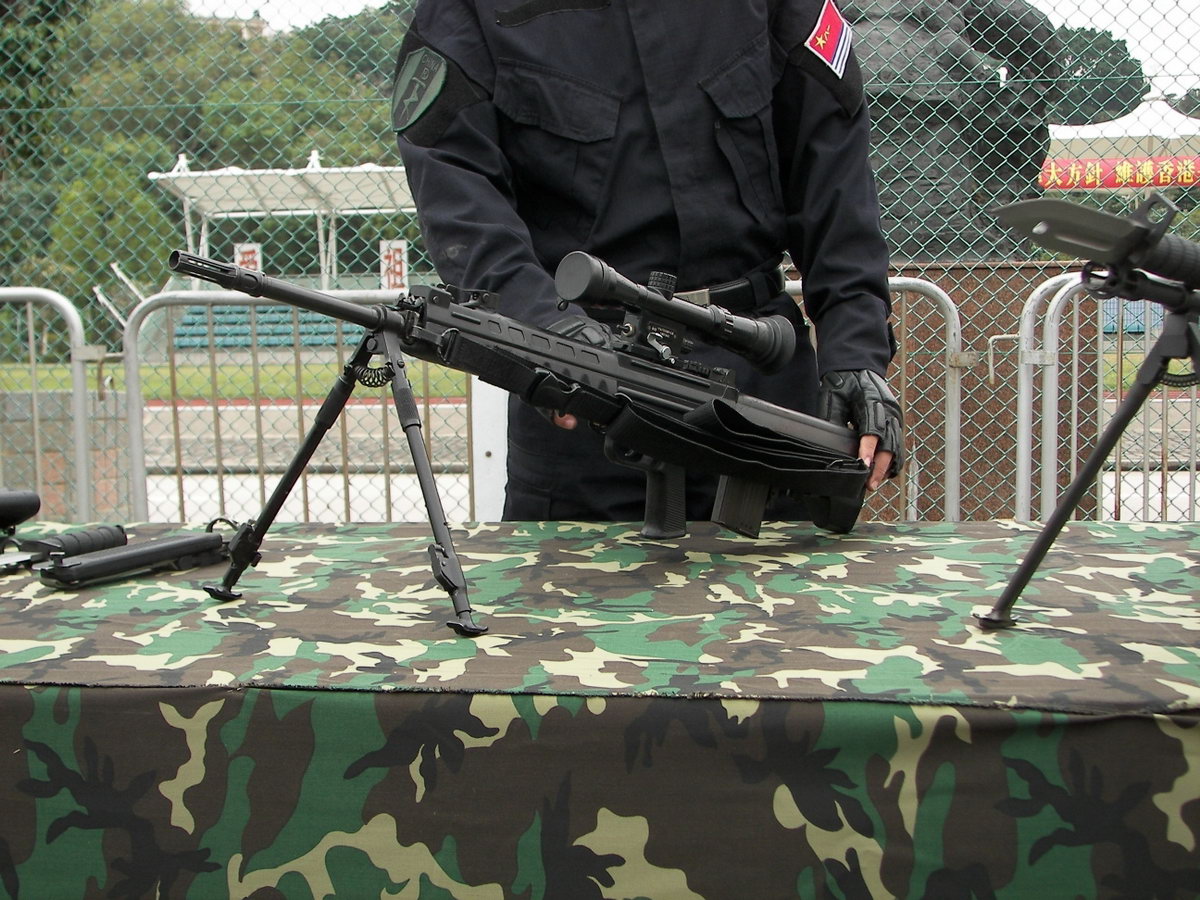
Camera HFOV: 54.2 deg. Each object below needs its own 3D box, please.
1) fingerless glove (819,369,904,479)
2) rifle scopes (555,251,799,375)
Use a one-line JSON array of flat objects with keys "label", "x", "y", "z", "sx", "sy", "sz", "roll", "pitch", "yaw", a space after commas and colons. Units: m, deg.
[{"label": "fingerless glove", "x": 0.578, "y": -0.065, "z": 2.569, "sx": 0.232, "sy": 0.215, "sz": 0.092, "roll": 4, "pitch": 3, "yaw": 43}, {"label": "rifle scopes", "x": 0.182, "y": -0.240, "z": 2.375, "sx": 0.652, "sy": 0.163, "sz": 0.177, "roll": 15, "pitch": -14, "yaw": -35}]
